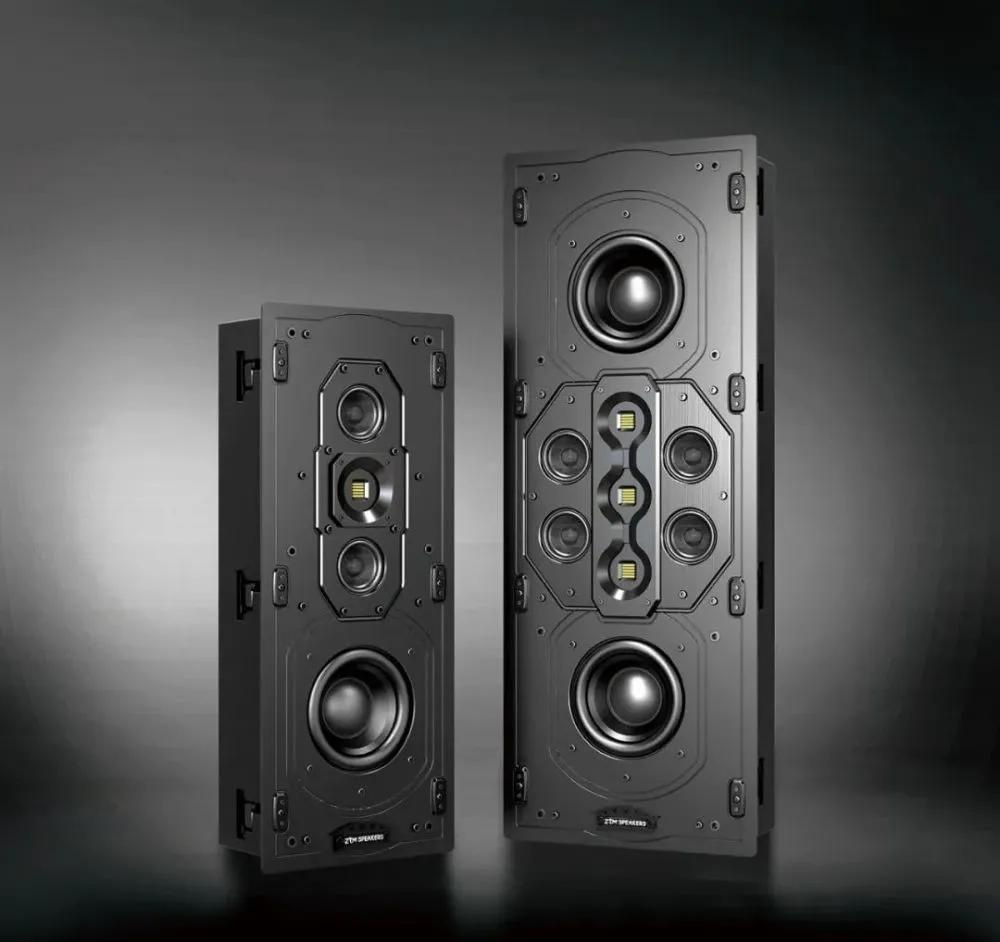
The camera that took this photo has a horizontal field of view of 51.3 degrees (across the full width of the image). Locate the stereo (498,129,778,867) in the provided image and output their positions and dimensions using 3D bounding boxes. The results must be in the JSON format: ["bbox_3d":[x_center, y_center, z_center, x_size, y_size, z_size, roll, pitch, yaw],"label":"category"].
[{"bbox_3d":[0.279,0.051,2.279,0.551,0.283,1.529,-1,-86,0],"label":"stereo"}]
